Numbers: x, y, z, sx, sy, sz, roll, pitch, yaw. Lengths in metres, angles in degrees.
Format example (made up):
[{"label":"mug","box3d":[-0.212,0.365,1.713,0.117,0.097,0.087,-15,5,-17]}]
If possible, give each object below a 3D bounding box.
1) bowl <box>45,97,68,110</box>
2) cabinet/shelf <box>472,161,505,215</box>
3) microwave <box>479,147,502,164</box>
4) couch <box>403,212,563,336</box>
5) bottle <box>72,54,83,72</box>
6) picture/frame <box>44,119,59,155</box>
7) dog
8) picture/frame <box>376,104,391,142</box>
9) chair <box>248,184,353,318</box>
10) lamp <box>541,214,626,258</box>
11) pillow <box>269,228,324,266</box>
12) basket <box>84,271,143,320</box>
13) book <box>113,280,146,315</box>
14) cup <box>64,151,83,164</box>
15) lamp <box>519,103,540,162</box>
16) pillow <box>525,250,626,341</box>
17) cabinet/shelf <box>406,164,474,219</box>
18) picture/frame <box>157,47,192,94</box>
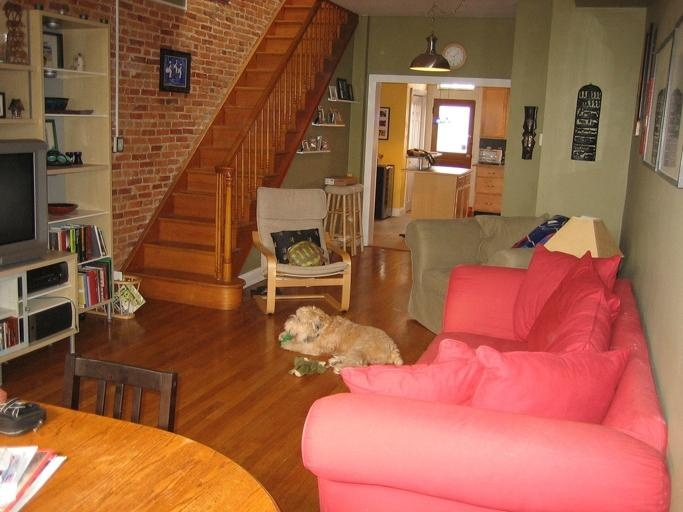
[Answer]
[{"label":"bowl","box3d":[-2.222,-1.181,4.162,0.041,0.113,0.168,6,7,34]},{"label":"cabinet/shelf","box3d":[2.980,-1.301,11.016,0.663,1.131,0.562,4,-2,-3]},{"label":"microwave","box3d":[3.104,-2.044,11.115,0.584,0.426,0.318,5,8,32]},{"label":"couch","box3d":[1.228,0.196,4.643,0.966,1.016,1.175,-3,16,-18]},{"label":"bottle","box3d":[-2.142,-1.584,4.364,0.091,0.151,0.215,-5,15,-25]},{"label":"picture/frame","box3d":[-2.386,-1.008,4.412,0.071,0.235,0.256,-5,15,-26]},{"label":"dog","box3d":[-0.007,0.630,4.047,0.732,0.269,0.475,11,2,19]},{"label":"picture/frame","box3d":[0.886,-2.696,10.866,0.242,0.686,0.093,11,16,31]},{"label":"chair","box3d":[-0.417,-0.071,5.404,0.910,1.206,0.998,-3,10,-26]},{"label":"lamp","box3d":[1.705,-0.124,3.678,0.339,0.174,0.382,-7,13,-38]},{"label":"pillow","box3d":[-0.387,-0.084,5.356,0.558,0.289,0.567,-3,15,-20]},{"label":"basket","box3d":[-2.094,0.340,4.933,0.436,0.336,0.444,-4,9,-37]},{"label":"book","box3d":[-1.980,0.403,4.933,0.285,0.316,0.283,7,-6,-32]},{"label":"cup","box3d":[-2.207,-0.820,4.443,0.114,0.109,0.152,6,16,13]},{"label":"lamp","box3d":[2.297,-1.508,6.554,0.174,0.639,0.238,6,14,17]},{"label":"pillow","box3d":[1.162,0.215,2.487,0.145,0.498,0.451,18,-3,-4]},{"label":"cabinet/shelf","box3d":[1.585,-1.174,9.518,0.837,1.116,1.205,4,30,3]},{"label":"picture/frame","box3d":[-1.773,-1.988,5.743,0.432,0.387,0.031,18,21,28]}]
